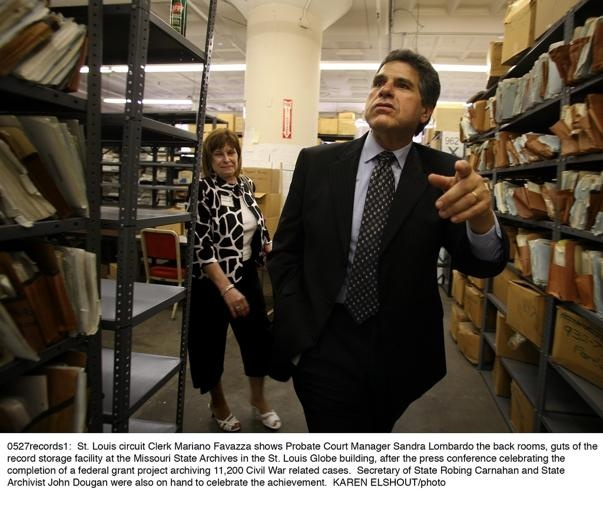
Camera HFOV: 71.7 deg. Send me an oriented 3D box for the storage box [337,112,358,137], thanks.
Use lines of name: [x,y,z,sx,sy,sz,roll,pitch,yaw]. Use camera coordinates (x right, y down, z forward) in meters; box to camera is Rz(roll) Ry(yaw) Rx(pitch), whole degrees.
storage box: [0.923,-2.543,8.112,0.413,0.626,0.451,4,16,18]

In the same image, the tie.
tie: [0.220,-0.065,1.312,0.120,0.517,0.173,5,10,12]

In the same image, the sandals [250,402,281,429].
sandals: [-0.224,0.917,2.450,0.085,0.065,0.229,0,2,-32]

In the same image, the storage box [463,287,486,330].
storage box: [1.437,0.433,3.455,0.213,0.268,0.386,0,7,3]

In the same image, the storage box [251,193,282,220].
storage box: [-0.415,-0.527,4.828,0.238,0.337,0.490,6,10,27]

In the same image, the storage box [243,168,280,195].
storage box: [-0.421,-0.874,4.869,0.328,0.213,0.344,8,16,25]

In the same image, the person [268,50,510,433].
person: [0.254,-0.041,1.309,0.694,1.206,0.445,2,10,-8]

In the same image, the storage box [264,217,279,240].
storage box: [-0.257,-0.235,3.439,0.105,0.193,0.202,1,18,7]

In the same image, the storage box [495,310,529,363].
storage box: [1.390,0.556,2.785,0.266,0.279,0.211,9,15,16]

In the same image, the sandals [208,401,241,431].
sandals: [-0.439,0.913,2.383,0.222,0.057,0.105,17,15,42]

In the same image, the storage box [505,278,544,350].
storage box: [1.253,0.300,2.285,0.104,0.276,0.291,-9,16,-7]

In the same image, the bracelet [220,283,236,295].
bracelet: [-0.358,0.159,2.047,0.052,0.021,0.047,-39,-3,19]

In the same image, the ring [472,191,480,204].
ring: [0.462,-0.156,1.103,0.005,0.024,0.025,-17,41,-3]
